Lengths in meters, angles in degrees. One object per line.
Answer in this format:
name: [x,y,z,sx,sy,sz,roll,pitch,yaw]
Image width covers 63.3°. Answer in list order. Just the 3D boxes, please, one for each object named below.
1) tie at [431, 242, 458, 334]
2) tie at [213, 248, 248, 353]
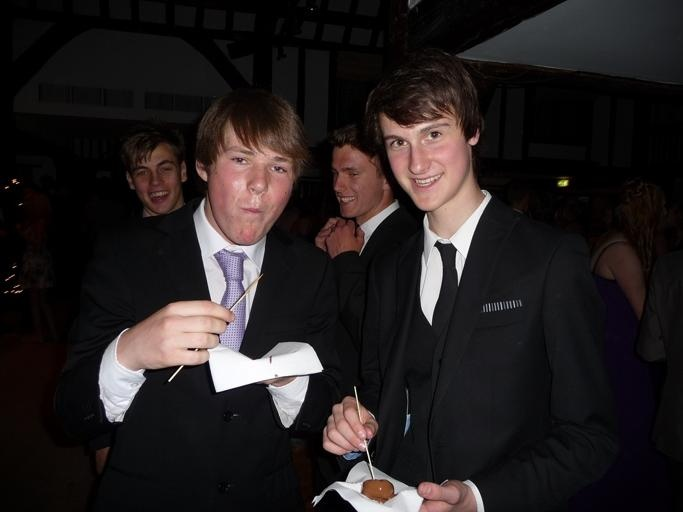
tie: [0.548,0.184,2.889,0.108,0.521,0.133,1,-6,19]
tie: [-0.584,0.231,2.946,0.168,0.516,0.124,1,5,3]
